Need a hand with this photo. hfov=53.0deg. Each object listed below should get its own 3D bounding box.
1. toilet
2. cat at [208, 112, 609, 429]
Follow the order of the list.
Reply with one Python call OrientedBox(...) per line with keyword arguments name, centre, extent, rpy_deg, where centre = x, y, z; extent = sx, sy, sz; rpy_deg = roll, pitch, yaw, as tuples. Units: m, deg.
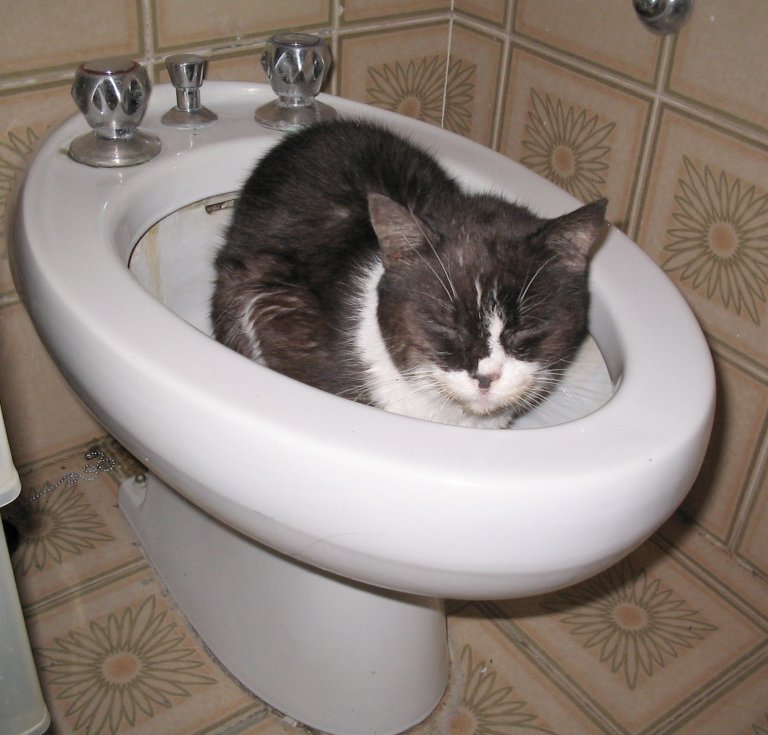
OrientedBox(name="toilet", centre=(-0.079, 0.030, 0.932), extent=(0.548, 0.549, 0.788), rpy_deg=(-21, 52, -31))
OrientedBox(name="cat", centre=(-0.017, -0.111, 0.905), extent=(0.302, 0.306, 0.436), rpy_deg=(-15, 61, -26))
